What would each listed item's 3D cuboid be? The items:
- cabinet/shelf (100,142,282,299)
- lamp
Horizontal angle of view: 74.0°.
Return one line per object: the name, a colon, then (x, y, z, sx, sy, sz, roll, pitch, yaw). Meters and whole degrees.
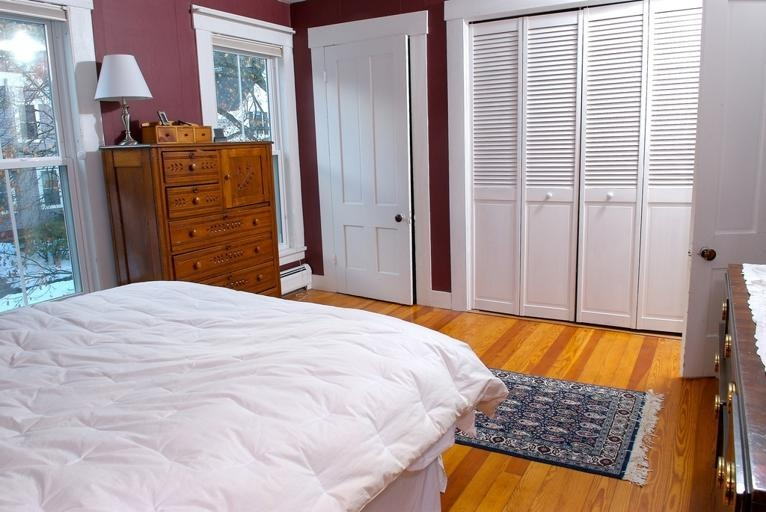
cabinet/shelf: (-1.455, -0.274, 3.703, 0.527, 1.310, 1.081, 6, 12, 32)
lamp: (-1.878, -1.113, 3.666, 0.360, 0.640, 0.417, -7, 11, -28)
